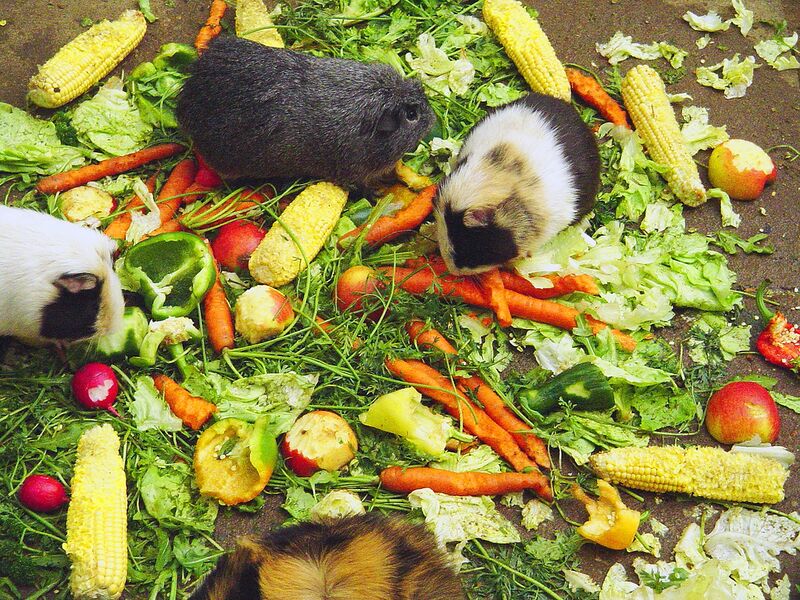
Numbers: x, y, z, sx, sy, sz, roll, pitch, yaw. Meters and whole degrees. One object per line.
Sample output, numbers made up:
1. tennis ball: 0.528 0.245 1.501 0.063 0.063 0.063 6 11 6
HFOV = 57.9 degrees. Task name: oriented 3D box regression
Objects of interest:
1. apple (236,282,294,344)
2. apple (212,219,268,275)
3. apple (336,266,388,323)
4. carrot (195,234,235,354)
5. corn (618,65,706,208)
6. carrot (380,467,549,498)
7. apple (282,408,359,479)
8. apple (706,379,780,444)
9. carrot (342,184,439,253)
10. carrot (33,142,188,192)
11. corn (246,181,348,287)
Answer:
1. apple: -0.815 0.074 4.431 0.302 0.362 0.262 5 102 14
2. apple: -0.995 -0.373 4.641 0.480 0.263 0.307 1 28 -7
3. apple: -0.244 -0.057 4.473 0.330 0.252 0.210 -18 34 -29
4. carrot: -1.123 -0.019 4.442 0.170 0.152 0.690 -11 84 3
5. corn: 1.776 -1.104 4.915 0.255 0.173 1.033 -17 81 -4
6. carrot: 0.399 1.069 4.222 1.015 0.143 0.167 3 81 -1
7. apple: -0.475 0.842 4.300 0.445 0.236 0.450 -9 49 -24
8. apple: 2.076 0.684 4.379 0.394 0.166 0.378 -3 80 -2
9. carrot: 0.036 -0.526 4.655 0.609 0.178 0.176 -35 83 -7
10. carrot: -1.870 -0.850 4.684 0.913 0.118 0.115 -16 70 -12
11. corn: -0.617 -0.420 4.467 0.321 0.288 0.782 29 81 4
